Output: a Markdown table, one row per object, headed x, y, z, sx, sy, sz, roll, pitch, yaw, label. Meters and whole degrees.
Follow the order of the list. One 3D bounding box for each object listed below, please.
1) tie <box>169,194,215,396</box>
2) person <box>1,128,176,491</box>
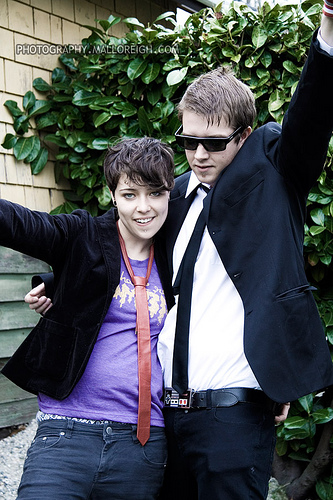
| x | y | z | sx | sy | sz | roll | pitch | yaw | label |
| --- | --- | --- | --- | --- | --- | --- | --- | --- | --- |
| 0.068 | 0.156 | 1.430 | 0.096 | 0.669 | 0.077 | -1 | -15 | 33 | tie |
| -0.225 | 0.222 | 1.470 | 0.569 | 1.234 | 0.466 | 0 | 4 | -19 | person |
